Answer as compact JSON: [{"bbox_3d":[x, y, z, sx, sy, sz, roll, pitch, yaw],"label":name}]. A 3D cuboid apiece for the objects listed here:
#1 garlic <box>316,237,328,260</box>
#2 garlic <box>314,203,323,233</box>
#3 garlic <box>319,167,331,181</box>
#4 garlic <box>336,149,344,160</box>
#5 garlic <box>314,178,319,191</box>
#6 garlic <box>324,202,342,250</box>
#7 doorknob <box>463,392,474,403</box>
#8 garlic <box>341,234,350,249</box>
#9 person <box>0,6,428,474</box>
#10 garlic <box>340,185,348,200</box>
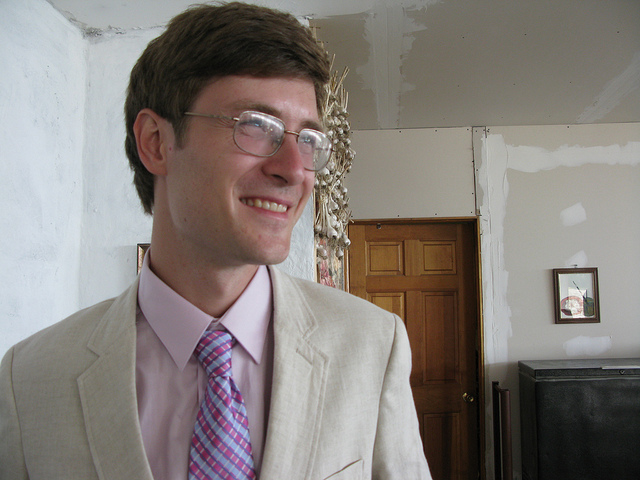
[{"bbox_3d":[0.014,0.035,2.944,0.057,0.088,0.030,-5,20,23],"label":"garlic"},{"bbox_3d":[-0.005,-0.099,2.893,0.038,0.123,0.020,-1,-7,13],"label":"garlic"},{"bbox_3d":[0.027,-0.294,2.796,0.032,0.043,0.044,2,-12,-7],"label":"garlic"},{"bbox_3d":[0.094,-0.389,2.883,0.029,0.036,0.009,0,39,-8],"label":"garlic"},{"bbox_3d":[-0.017,-0.246,2.820,0.023,0.037,0.013,0,33,3],"label":"garlic"},{"bbox_3d":[0.063,-0.066,2.952,0.047,0.197,0.159,-2,-7,15],"label":"garlic"},{"bbox_3d":[1.134,1.189,4.846,0.062,0.073,0.021,-6,-8,13],"label":"doorknob"},{"bbox_3d":[0.122,0.003,3.007,0.039,0.060,0.015,-8,14,-33],"label":"garlic"},{"bbox_3d":[-0.334,0.016,2.190,1.349,1.508,0.424,-2,-7,13],"label":"person"},{"bbox_3d":[0.111,-0.236,3.022,0.028,0.044,0.010,-6,8,-17],"label":"garlic"}]
